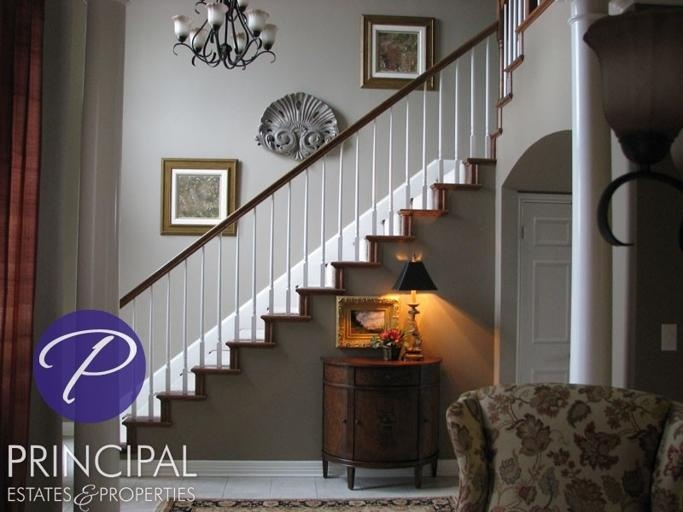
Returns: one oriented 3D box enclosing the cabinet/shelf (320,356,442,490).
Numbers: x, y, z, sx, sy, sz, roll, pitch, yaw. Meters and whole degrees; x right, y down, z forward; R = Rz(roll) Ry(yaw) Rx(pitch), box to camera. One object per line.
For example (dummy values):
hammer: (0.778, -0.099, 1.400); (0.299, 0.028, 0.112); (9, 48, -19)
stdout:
cabinet/shelf: (0.307, 1.237, 5.151); (0.861, 1.017, 0.509); (0, 7, 0)

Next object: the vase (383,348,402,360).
vase: (0.380, 0.736, 5.099); (0.092, 0.081, 0.085); (0, -1, -10)

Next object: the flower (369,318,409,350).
flower: (0.378, 0.607, 5.192); (0.195, 0.166, 0.200); (-1, -7, 16)

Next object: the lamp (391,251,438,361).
lamp: (0.567, 0.394, 5.167); (0.324, 0.794, 0.395); (1, 6, 8)

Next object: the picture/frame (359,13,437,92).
picture/frame: (0.511, -1.926, 6.465); (0.857, 1.035, 0.075); (0, 1, -8)

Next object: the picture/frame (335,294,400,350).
picture/frame: (0.186, 0.518, 5.247); (0.346, 0.346, 0.029); (1, -1, -6)

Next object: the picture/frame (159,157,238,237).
picture/frame: (-1.350, -0.563, 6.459); (0.694, 0.829, 0.117); (-2, 35, -17)
